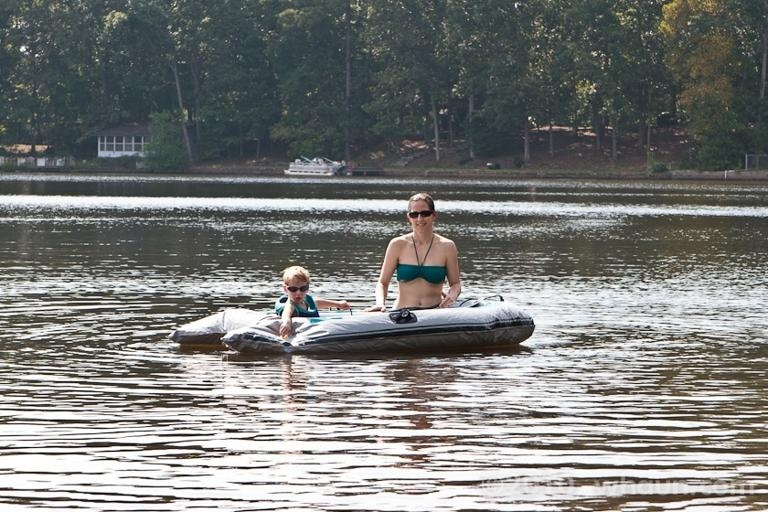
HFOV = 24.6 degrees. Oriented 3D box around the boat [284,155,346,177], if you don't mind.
[{"bbox_3d":[-4.710,-6.809,133.100,3.655,1.110,2.357,0,3,9],"label":"boat"}]
